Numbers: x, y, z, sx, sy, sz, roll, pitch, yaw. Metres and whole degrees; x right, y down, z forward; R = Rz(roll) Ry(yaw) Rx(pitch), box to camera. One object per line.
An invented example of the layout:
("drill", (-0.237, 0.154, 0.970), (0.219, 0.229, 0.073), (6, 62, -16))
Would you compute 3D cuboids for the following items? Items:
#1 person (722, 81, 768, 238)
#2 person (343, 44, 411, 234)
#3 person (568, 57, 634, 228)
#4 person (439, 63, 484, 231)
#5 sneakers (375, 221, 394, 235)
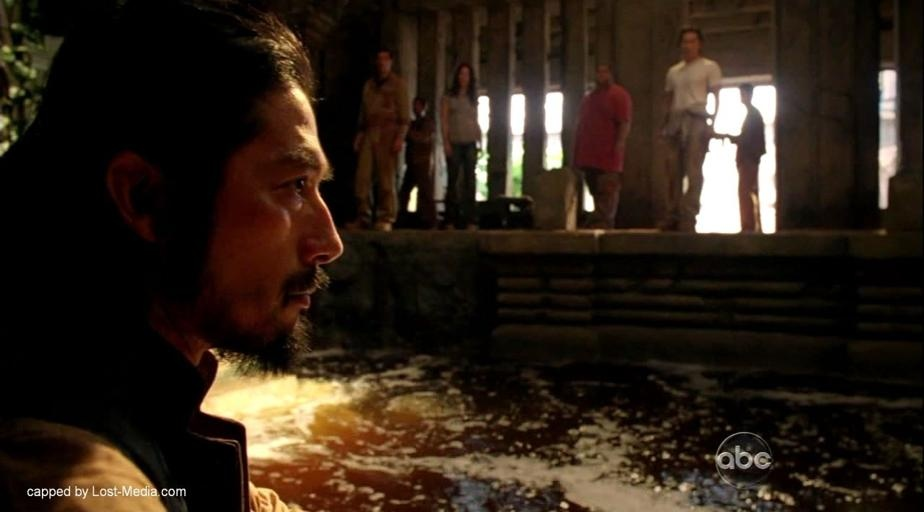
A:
("person", (3.129, -1.060, 8.474), (0.393, 1.602, 0.479), (5, 13, 22))
("person", (-0.964, -1.296, 8.831), (0.619, 2.025, 0.869), (-9, 15, -36))
("person", (1.592, -1.200, 8.706), (0.538, 1.814, 0.714), (-4, 13, -21))
("person", (-0.031, -1.333, 9.584), (0.457, 2.024, 0.631), (1, 12, 1))
("sneakers", (-0.875, -0.296, 8.482), (0.194, 0.103, 0.687), (-1, 11, -6))
